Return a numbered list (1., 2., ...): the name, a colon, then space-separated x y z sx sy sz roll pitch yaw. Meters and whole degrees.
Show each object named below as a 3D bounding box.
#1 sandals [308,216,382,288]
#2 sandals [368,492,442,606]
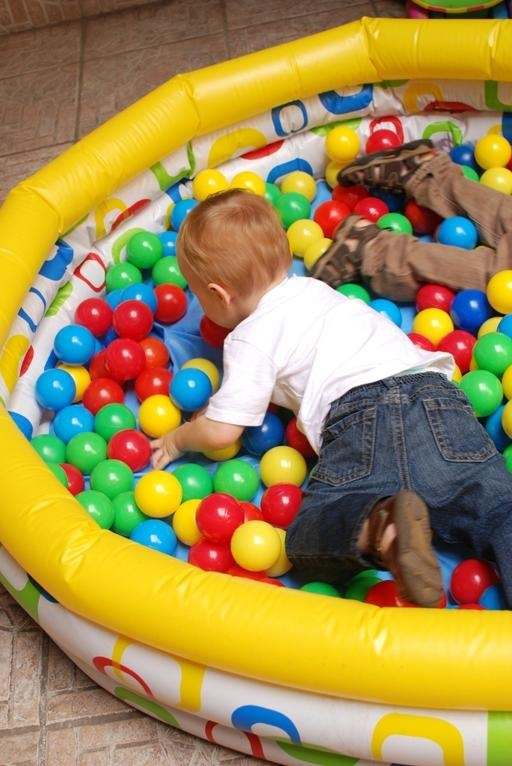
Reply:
1. sandals: 0.213 -0.293 1.495 0.207 0.103 0.087 -53 46 7
2. sandals: 0.182 0.209 0.801 0.063 0.085 0.152 -18 81 -20
